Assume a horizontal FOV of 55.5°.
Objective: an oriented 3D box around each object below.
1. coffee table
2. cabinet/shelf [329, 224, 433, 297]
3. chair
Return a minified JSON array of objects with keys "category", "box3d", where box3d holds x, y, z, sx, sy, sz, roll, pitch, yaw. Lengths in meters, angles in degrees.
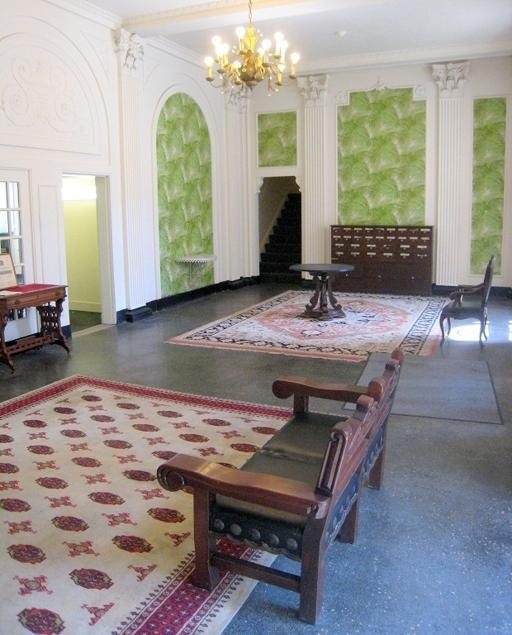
[{"category":"coffee table","box3d":[1.149,-0.418,8.284,0.986,0.795,0.987,3,9,31]},{"category":"cabinet/shelf","box3d":[2.770,-1.208,10.344,1.771,1.185,0.604,2,11,17]},{"category":"chair","box3d":[2.990,-0.292,6.907,0.623,1.132,1.405,3,10,24]}]
